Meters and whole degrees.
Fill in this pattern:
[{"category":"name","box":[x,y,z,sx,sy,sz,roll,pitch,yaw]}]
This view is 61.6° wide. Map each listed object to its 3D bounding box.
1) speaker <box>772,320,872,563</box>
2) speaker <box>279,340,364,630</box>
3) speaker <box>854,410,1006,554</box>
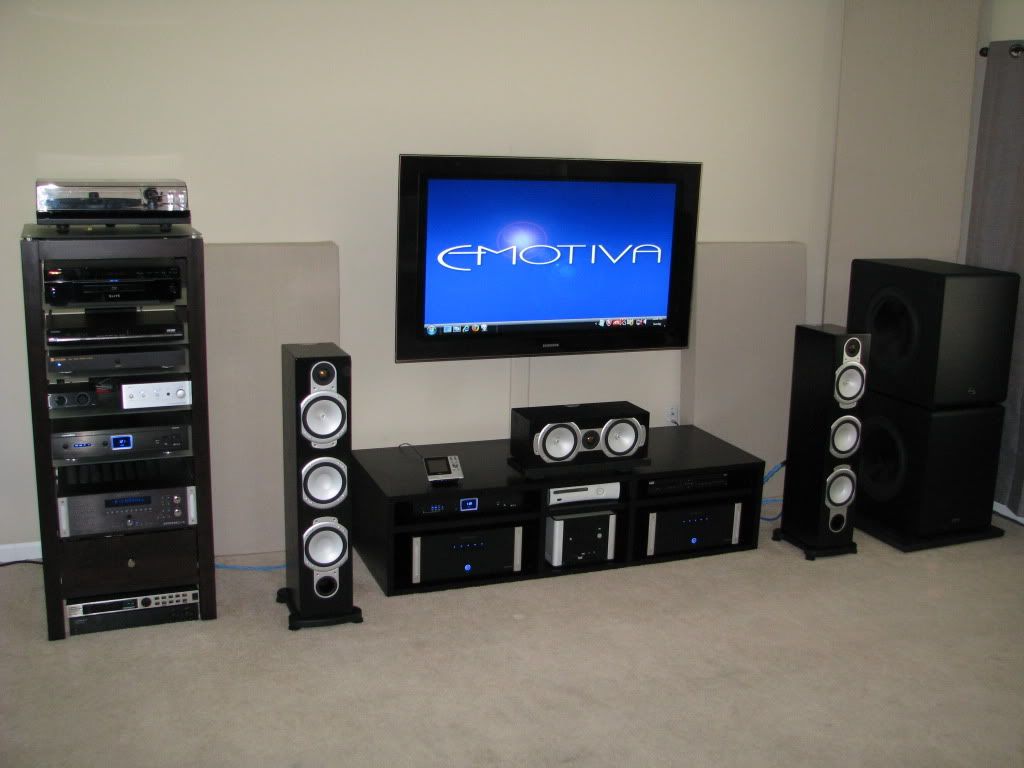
[{"category":"speaker","box":[1.454,0.270,4.086,0.280,1.090,0.351,-9,12,-33]},{"category":"speaker","box":[-0.804,0.404,3.491,0.365,1.123,0.329,-6,10,-18]},{"category":"speaker","box":[2.083,0.366,4.477,0.605,0.716,0.719,-5,13,-10]}]
